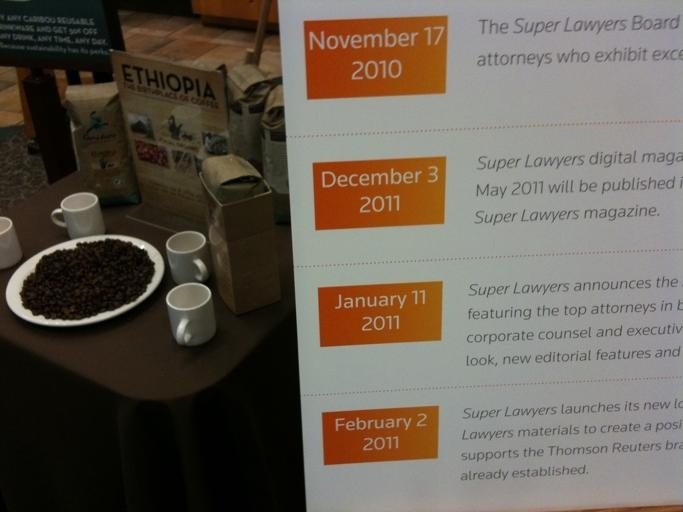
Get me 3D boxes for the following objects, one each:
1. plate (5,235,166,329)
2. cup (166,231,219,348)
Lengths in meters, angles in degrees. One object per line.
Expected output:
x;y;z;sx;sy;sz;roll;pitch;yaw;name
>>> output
-0.556;-0.028;1.483;0.314;0.181;0.338;-10;42;-16;plate
-0.306;0.058;1.470;0.094;0.143;0.275;-4;41;-9;cup
